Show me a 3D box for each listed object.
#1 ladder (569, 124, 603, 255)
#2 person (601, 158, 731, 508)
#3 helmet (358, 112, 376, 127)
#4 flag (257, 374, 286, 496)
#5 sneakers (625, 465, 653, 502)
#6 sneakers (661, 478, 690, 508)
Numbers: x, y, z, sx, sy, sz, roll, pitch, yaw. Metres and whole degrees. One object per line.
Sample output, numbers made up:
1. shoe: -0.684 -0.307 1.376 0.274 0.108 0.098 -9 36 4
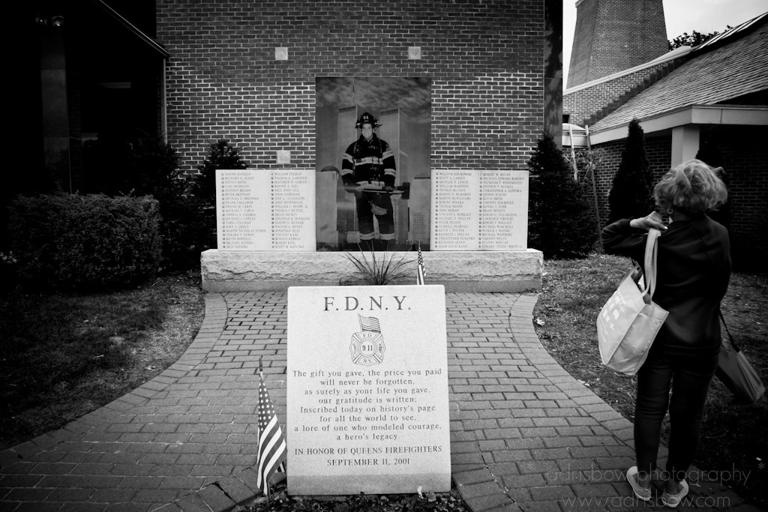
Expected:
1. ladder: 6.937 -2.849 20.830 1.133 3.372 2.314 2 9 17
2. person: 2.871 0.763 6.042 1.010 3.357 0.628 3 9 23
3. helmet: -0.382 -3.182 14.122 0.298 0.308 0.104 2 11 4
4. flag: -1.154 1.777 6.053 0.293 1.333 0.215 -1 8 -4
5. sneakers: 2.662 2.257 6.217 0.178 0.180 0.411 -5 5 14
6. sneakers: 2.950 2.352 6.059 0.138 0.186 0.410 -12 -5 36
